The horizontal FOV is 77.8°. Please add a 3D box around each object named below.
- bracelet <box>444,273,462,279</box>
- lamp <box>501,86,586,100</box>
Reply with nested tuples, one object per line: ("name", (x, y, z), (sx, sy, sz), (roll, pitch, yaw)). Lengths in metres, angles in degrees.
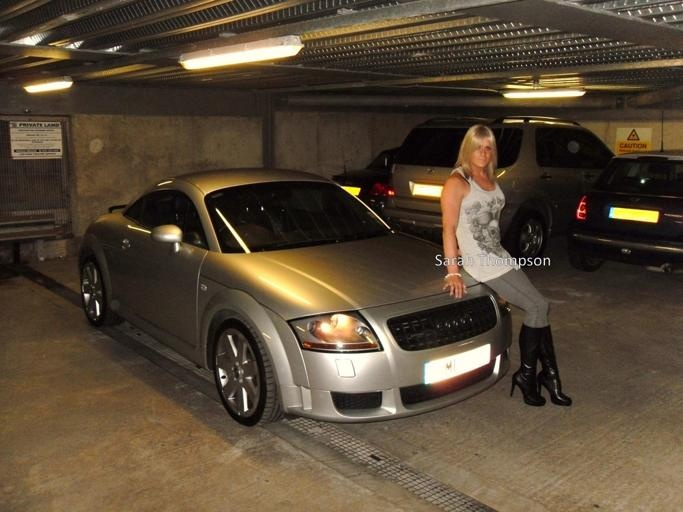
("bracelet", (0.853, 0.147, 3.222), (0.114, 0.043, 0.087), (2, 9, 9))
("lamp", (4.622, -3.814, 9.854), (1.441, 0.147, 0.219), (3, 33, 11))
